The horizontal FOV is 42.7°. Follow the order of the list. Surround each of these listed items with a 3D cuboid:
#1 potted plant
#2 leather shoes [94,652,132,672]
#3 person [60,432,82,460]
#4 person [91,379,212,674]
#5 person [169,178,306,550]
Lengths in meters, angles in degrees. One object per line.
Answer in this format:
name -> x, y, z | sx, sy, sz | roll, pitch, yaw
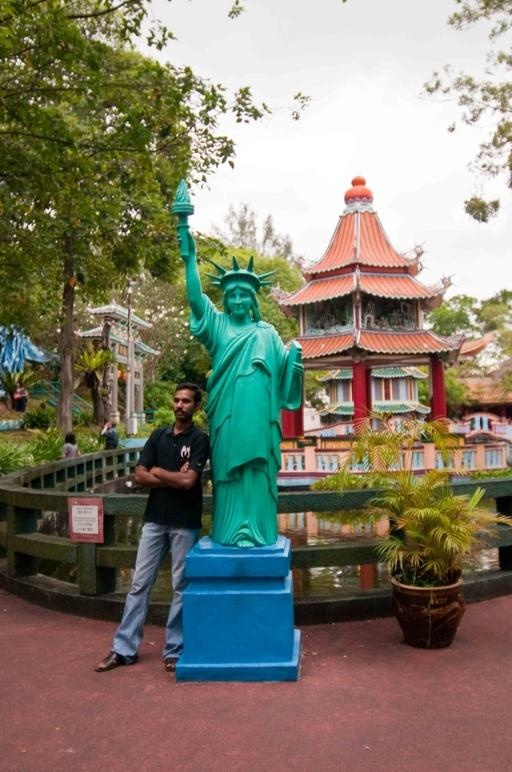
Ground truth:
potted plant -> 1.107, 0.928, 4.376 | 0.894, 1.401, 1.031 | -2, -5, 8
leather shoes -> -0.799, 1.565, 3.728 | 0.214, 0.084, 0.072 | 13, -23, -33
person -> -3.506, 1.090, 12.403 | 0.251, 0.458, 0.729 | 0, -5, -18
person -> -0.577, 0.787, 3.846 | 0.606, 1.637, 0.525 | -1, -5, -1
person -> -0.100, -0.153, 4.034 | 0.757, 2.182, 0.452 | -1, -4, 4
